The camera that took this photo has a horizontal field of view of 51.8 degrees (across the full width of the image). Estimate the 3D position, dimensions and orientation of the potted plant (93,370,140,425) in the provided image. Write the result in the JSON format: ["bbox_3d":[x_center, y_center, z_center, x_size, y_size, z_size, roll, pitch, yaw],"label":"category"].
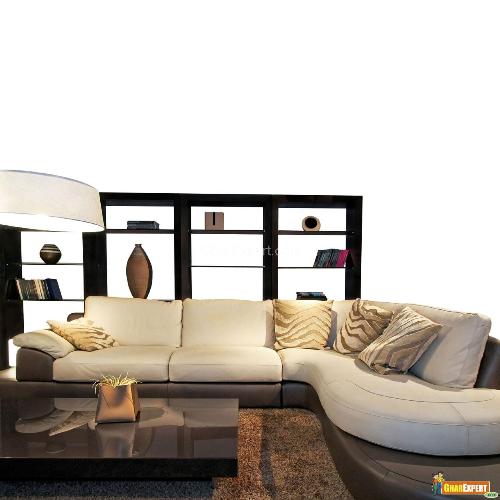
[{"bbox_3d":[-0.767,0.866,3.101,0.303,0.289,0.260,0,-4,-5],"label":"potted plant"}]
